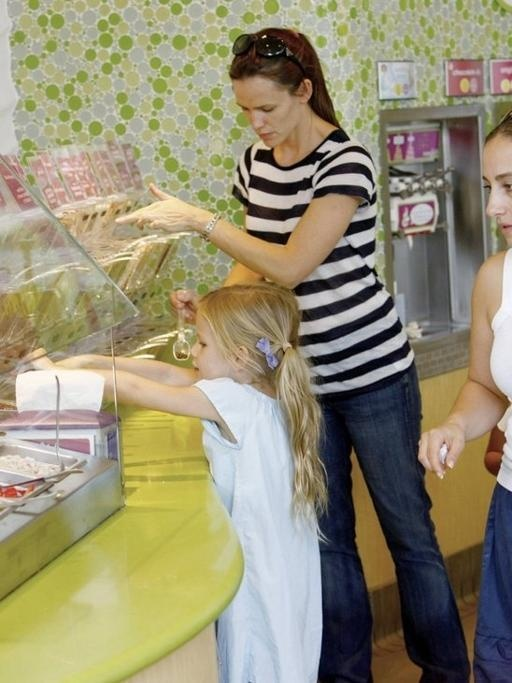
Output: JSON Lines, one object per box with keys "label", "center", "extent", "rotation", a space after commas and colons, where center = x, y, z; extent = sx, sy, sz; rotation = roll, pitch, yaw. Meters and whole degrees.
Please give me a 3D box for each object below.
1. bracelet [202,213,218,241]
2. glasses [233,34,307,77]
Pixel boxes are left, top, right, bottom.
{"label": "bracelet", "center": [-0.115, -0.276, 1.343], "extent": [0.033, 0.058, 0.072], "rotation": [2, 5, -24]}
{"label": "glasses", "center": [0.031, -0.676, 1.322], "extent": [0.102, 0.035, 0.109], "rotation": [13, -13, 36]}
